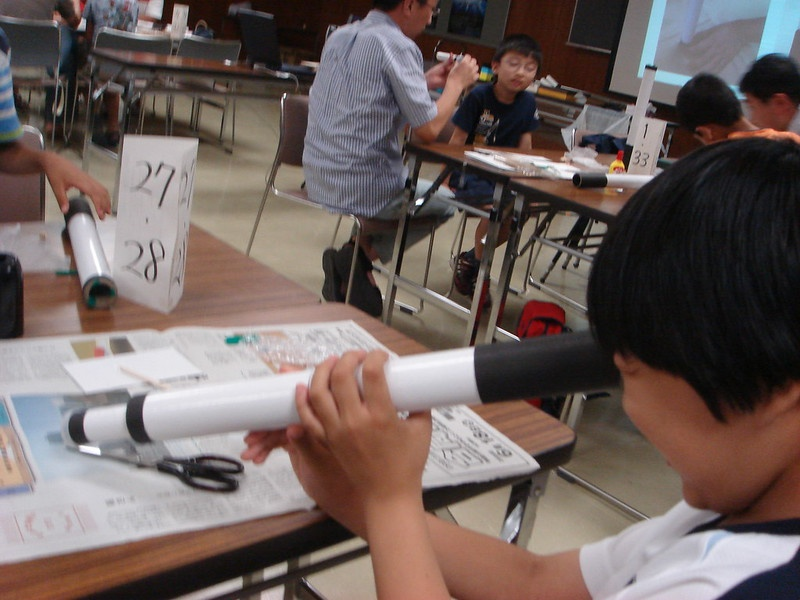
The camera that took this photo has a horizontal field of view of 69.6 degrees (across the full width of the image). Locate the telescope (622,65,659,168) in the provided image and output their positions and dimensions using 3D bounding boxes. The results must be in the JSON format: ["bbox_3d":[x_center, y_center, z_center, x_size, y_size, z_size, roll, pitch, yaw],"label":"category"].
[{"bbox_3d":[1.102,-0.868,2.675,0.047,0.511,0.046,22,-9,-30],"label":"telescope"}]

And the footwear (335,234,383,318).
[{"bbox_3d":[-0.196,-0.073,2.783,0.153,0.463,0.184,-17,-8,30],"label":"footwear"}]

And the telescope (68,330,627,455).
[{"bbox_3d":[-0.099,0.108,0.673,0.798,0.103,0.103,-7,22,18],"label":"telescope"}]

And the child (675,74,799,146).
[{"bbox_3d":[1.511,-0.870,2.651,0.305,0.300,0.501,6,23,-13],"label":"child"}]

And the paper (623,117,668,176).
[{"bbox_3d":[1.103,-0.686,2.574,0.024,0.251,0.138,-2,21,-30],"label":"paper"}]

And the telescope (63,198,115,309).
[{"bbox_3d":[-0.604,-0.105,1.151,0.084,0.091,0.416,0,35,-22],"label":"telescope"}]

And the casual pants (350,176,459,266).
[{"bbox_3d":[0.017,-0.440,2.799,0.424,0.333,0.130,-41,80,-13],"label":"casual pants"}]
